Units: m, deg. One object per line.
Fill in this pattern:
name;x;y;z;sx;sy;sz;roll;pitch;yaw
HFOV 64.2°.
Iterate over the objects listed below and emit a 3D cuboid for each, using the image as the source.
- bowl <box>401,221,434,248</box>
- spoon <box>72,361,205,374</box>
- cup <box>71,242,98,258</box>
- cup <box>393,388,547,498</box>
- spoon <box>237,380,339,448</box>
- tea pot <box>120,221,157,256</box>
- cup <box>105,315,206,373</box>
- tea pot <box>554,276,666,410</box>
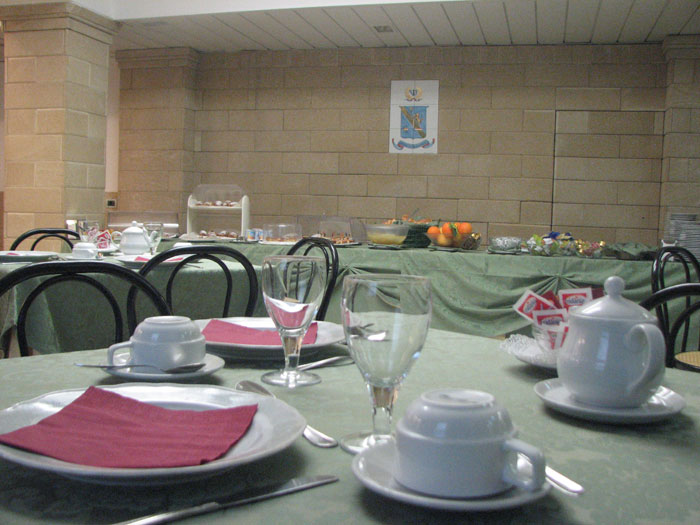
bowl;0.396;-0.158;3.219;0.152;0.108;0.144;2;11;0
spoon;-0.291;0.150;0.796;0.097;0.011;0.061;1;-5;-9
cup;-1.059;-0.052;2.237;0.073;0.048;0.078;2;6;0
cup;0.104;0.141;0.487;0.107;0.058;0.084;7;7;43
spoon;-0.087;0.156;0.704;0.046;0.023;0.339;-1;7;-22
tea pot;-0.890;-0.106;2.390;0.128;0.138;0.192;0;-3;7
cup;-0.270;0.118;0.807;0.112;0.068;0.082;0;4;-16
tea pot;0.327;0.110;0.762;0.119;0.155;0.170;2;6;2
